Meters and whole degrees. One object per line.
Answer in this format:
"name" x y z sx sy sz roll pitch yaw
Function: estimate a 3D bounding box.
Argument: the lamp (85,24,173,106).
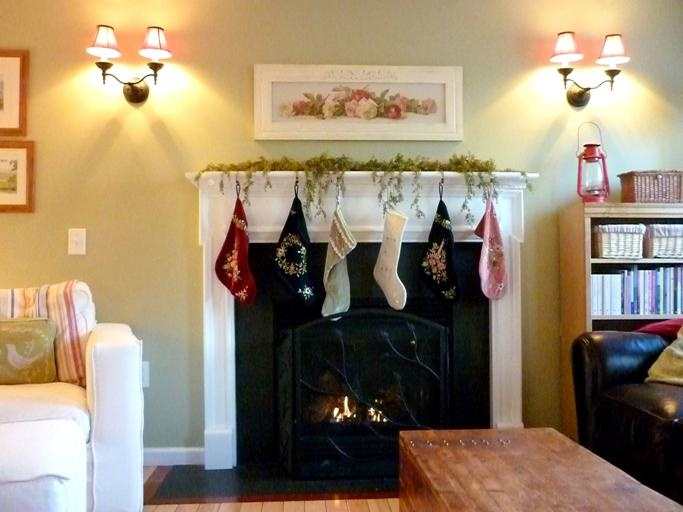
"lamp" -1.206 -1.114 3.721 0.469 0.434 0.244 -7 17 -30

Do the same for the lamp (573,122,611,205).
"lamp" 1.497 -0.558 3.842 0.163 0.516 0.139 -2 -13 16

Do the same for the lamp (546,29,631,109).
"lamp" 1.467 -1.101 3.833 0.419 0.410 0.229 4 5 7
